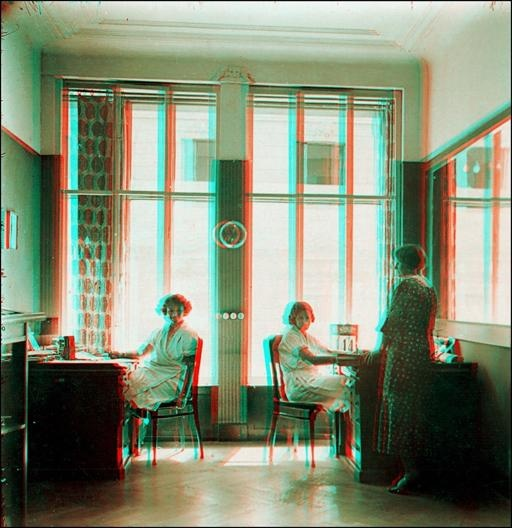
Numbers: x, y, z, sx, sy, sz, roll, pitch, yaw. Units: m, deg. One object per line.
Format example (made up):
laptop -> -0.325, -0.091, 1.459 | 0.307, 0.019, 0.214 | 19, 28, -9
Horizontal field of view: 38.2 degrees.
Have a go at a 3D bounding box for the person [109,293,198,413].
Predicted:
person -> -0.564, 0.546, 4.531 | 0.442, 0.852, 0.516 | 3, -12, 29

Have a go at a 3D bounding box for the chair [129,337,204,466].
chair -> -0.553, 0.824, 4.703 | 0.448, 0.762, 0.488 | -1, 1, 11

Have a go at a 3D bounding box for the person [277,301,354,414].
person -> 0.391, 0.634, 4.685 | 0.413, 0.839, 0.348 | -3, -3, 4

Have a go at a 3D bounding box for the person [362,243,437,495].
person -> 0.884, 0.735, 4.520 | 0.405, 1.306, 0.200 | 0, -2, 0

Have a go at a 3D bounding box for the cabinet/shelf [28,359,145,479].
cabinet/shelf -> -1.123, 0.886, 4.857 | 0.536, 0.855, 0.789 | 0, -4, -5
